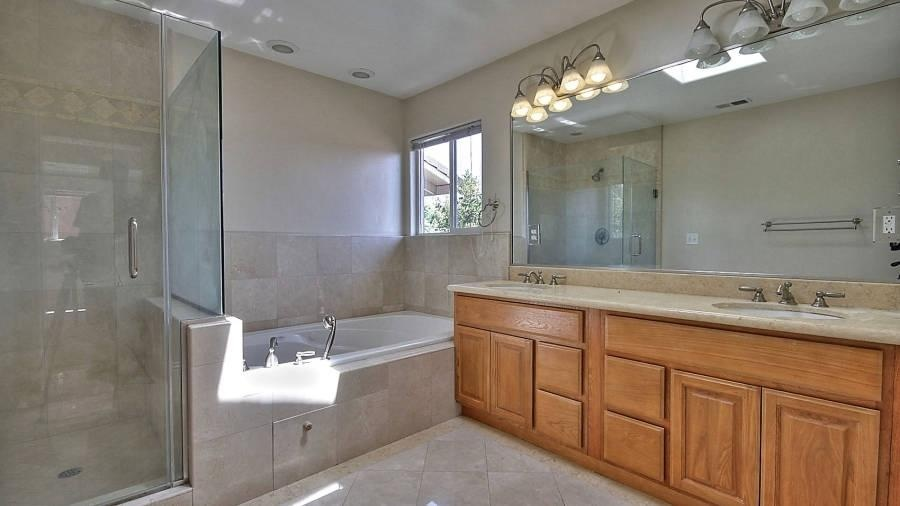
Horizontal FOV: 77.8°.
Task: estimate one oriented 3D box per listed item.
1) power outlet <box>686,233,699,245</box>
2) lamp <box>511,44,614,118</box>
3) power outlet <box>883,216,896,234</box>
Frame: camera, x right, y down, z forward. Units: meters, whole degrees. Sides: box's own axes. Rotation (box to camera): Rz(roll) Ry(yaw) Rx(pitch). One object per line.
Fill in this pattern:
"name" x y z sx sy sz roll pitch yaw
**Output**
"power outlet" 1.859 -0.107 4.284 0.013 0.088 0.092 5 -7 -39
"lamp" 0.970 -1.419 4.797 0.574 0.434 1.060 -2 -2 -40
"power outlet" 2.948 -0.191 3.755 0.075 0.119 0.014 -1 3 10
